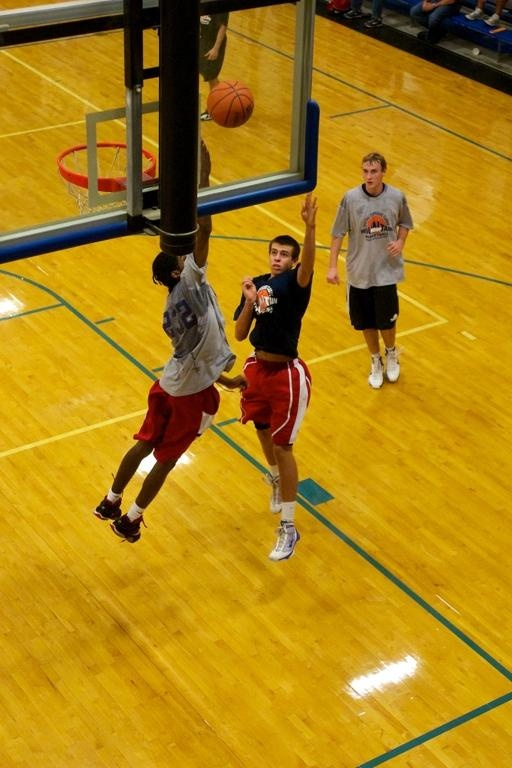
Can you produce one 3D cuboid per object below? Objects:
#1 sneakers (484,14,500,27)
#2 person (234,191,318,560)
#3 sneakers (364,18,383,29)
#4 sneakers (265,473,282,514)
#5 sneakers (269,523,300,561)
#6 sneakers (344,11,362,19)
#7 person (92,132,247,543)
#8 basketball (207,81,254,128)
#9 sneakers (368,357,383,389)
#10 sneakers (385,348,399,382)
[{"bbox_3d":[3.836,-5.922,11.071,0.117,0.139,0.330,42,44,7],"label":"sneakers"},{"bbox_3d":[0.109,0.003,3.223,0.309,1.742,0.458,3,23,-7],"label":"person"},{"bbox_3d":[2.101,-6.419,12.114,0.268,0.184,0.099,-28,70,-16],"label":"sneakers"},{"bbox_3d":[0.105,0.599,3.707,0.077,0.221,0.109,-11,-7,3],"label":"sneakers"},{"bbox_3d":[0.145,0.801,3.404,0.070,0.201,0.093,26,-8,26],"label":"sneakers"},{"bbox_3d":[1.749,-6.681,12.318,0.293,0.120,0.109,0,67,-5],"label":"sneakers"},{"bbox_3d":[-0.375,0.108,3.006,0.441,1.586,0.489,-15,31,-40],"label":"person"},{"bbox_3d":[-0.106,-1.209,2.945,0.161,0.188,0.229,-8,26,-31],"label":"basketball"},{"bbox_3d":[0.865,-0.072,4.890,0.086,0.138,0.243,0,25,13],"label":"sneakers"},{"bbox_3d":[0.988,-0.125,4.951,0.094,0.257,0.154,-5,-21,13],"label":"sneakers"}]
